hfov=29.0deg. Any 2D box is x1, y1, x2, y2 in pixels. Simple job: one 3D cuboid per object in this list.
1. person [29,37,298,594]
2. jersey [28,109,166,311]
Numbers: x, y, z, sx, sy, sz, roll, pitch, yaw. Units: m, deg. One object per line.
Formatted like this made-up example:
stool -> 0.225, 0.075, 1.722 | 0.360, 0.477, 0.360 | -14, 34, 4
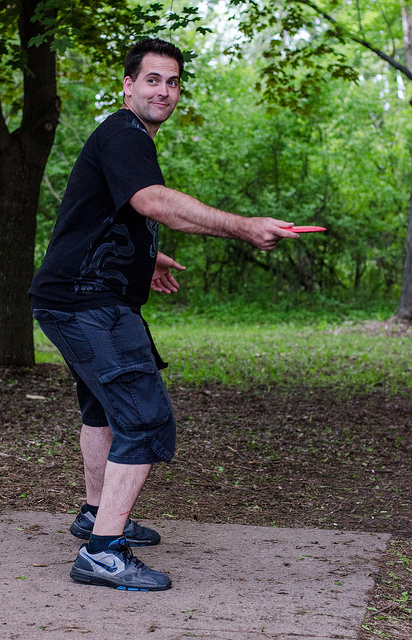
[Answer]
person -> -0.286, -0.054, 3.274 | 0.811, 2.261, 0.380 | 9, 4, 24
jersey -> -0.429, -0.458, 3.246 | 0.512, 0.853, 0.374 | 6, 4, -6
